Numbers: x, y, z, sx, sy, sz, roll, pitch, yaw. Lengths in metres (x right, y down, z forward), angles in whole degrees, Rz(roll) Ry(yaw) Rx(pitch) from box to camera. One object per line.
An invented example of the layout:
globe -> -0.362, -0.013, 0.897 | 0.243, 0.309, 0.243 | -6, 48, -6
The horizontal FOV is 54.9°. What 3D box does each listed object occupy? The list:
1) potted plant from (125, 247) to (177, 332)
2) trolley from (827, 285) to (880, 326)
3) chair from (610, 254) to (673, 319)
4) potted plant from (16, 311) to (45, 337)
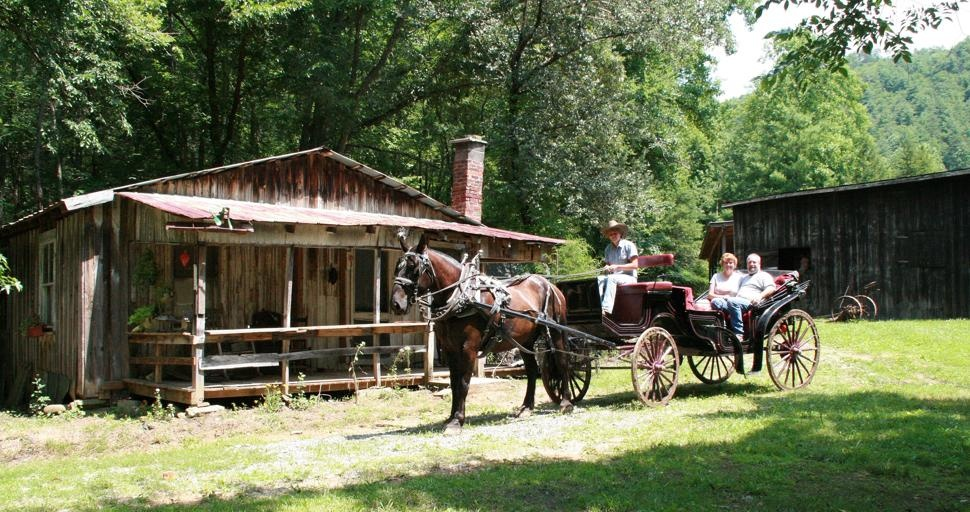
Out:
potted plant -> -12.149, 1.204, 33.813 | 1.419, 2.998, 0.999 | 2, -6, -22
trolley -> 17.172, 2.255, 43.849 | 1.465, 1.776, 2.062 | 8, -9, 8
chair -> 5.098, 1.028, 31.056 | 1.669, 2.275, 0.764 | 1, -6, -17
potted plant -> -17.108, 2.642, 35.575 | 1.238, 0.809, 1.040 | -1, -5, 19
